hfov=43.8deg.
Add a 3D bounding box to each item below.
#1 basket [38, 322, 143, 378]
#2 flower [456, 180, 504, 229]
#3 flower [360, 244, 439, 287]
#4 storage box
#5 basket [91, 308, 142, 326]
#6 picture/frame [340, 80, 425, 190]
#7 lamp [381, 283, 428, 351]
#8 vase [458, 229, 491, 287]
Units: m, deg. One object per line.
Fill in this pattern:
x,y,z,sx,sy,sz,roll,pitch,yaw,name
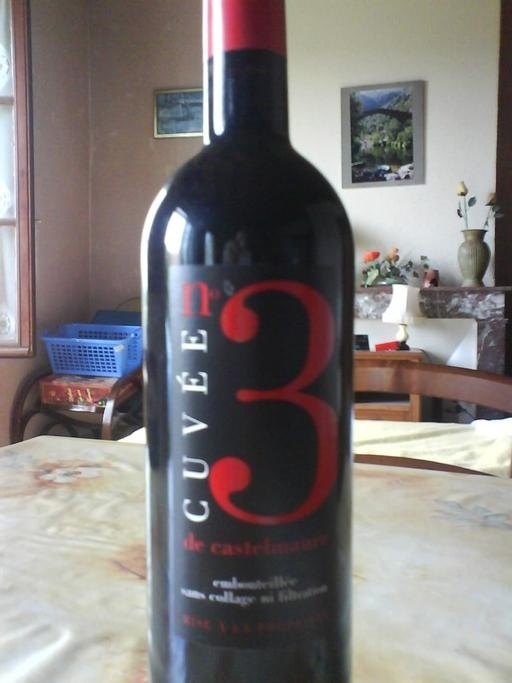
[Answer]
-0.735,0.043,2.842,0.329,0.139,0.225,3,15,6,basket
1.123,-0.695,3.224,0.285,0.256,0.111,2,8,5,flower
0.741,-0.376,3.284,0.335,0.166,0.206,5,1,-7,flower
-0.739,0.202,2.748,0.413,0.159,0.307,0,4,13,storage box
-0.704,-0.122,3.260,0.175,0.053,0.117,4,4,9,basket
0.675,-1.088,3.298,0.605,0.664,0.027,1,7,17,picture/frame
0.718,-0.125,3.108,0.176,0.299,0.409,1,4,14,lamp
1.061,-0.415,3.178,0.124,0.290,0.193,-2,4,-22,vase
